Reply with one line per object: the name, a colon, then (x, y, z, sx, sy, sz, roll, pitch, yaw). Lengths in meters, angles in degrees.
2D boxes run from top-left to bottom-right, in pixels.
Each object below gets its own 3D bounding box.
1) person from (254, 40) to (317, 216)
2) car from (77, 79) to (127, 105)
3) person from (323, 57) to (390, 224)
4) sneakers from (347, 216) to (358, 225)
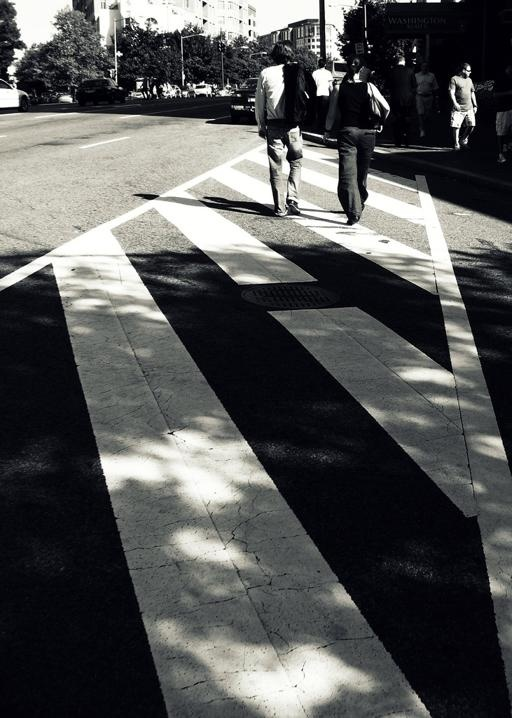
person: (0.436, -3.219, 8.812, 0.817, 2.304, 0.750, -1, 17, 5)
car: (-12.761, -21.798, 50.759, 1.988, 2.086, 4.769, 1, 18, 12)
person: (1.327, -2.919, 8.402, 0.672, 2.130, 0.767, -8, 18, -17)
sneakers: (1.314, -1.897, 8.446, 0.090, 0.159, 0.124, -3, 44, -2)
